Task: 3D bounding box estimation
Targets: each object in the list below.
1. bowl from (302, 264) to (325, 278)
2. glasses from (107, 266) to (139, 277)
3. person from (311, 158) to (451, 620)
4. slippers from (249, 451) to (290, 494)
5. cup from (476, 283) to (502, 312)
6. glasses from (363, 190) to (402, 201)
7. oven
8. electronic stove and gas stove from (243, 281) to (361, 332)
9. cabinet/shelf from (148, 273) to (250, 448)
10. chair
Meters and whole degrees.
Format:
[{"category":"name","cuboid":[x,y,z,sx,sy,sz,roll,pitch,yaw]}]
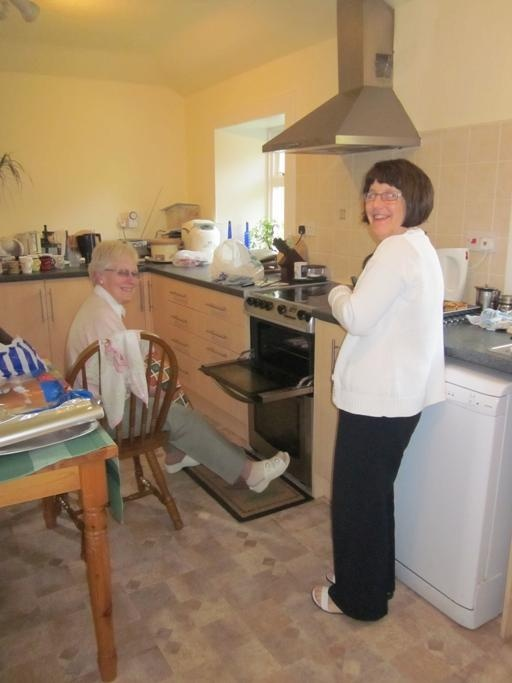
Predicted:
[{"category":"bowl","cuboid":[0.331,-0.400,2.918,0.101,0.045,0.089,2,12,11]},{"category":"glasses","cuboid":[-0.508,-0.272,2.053,0.066,0.039,0.169,4,11,23]},{"category":"person","cuboid":[0.346,0.186,1.437,0.361,1.319,0.337,1,11,9]},{"category":"slippers","cuboid":[0.041,0.539,2.222,0.106,0.223,0.089,50,4,40]},{"category":"cup","cuboid":[0.885,-0.165,1.973,0.068,0.102,0.105,-8,17,-32]},{"category":"glasses","cuboid":[0.323,-0.367,1.320,0.026,0.027,0.096,-9,13,-39]},{"category":"oven","cuboid":[0.122,0.230,2.446,0.604,0.811,0.503,-10,18,-32]},{"category":"electronic stove and gas stove","cuboid":[0.212,-0.178,2.392,0.290,0.083,0.324,-11,19,-37]},{"category":"cabinet/shelf","cuboid":[-0.260,0.100,2.667,0.315,0.746,0.886,-9,20,-32]},{"category":"chair","cuboid":[-0.528,0.343,1.968,0.449,0.700,0.409,-6,4,-19]}]
